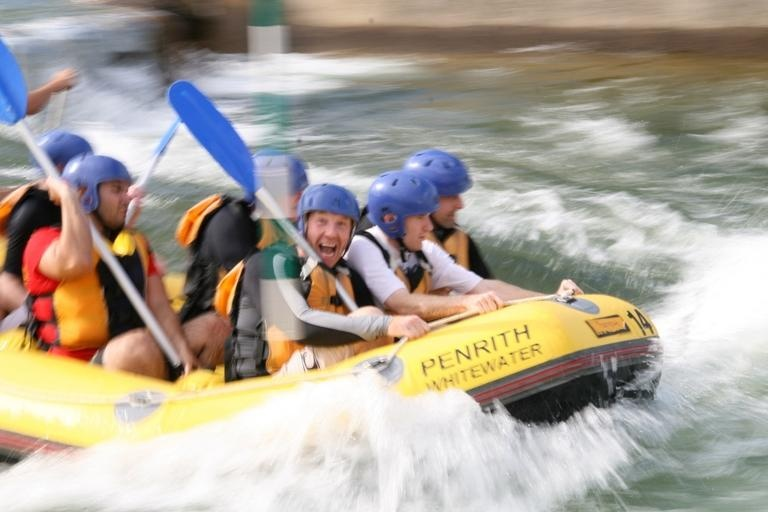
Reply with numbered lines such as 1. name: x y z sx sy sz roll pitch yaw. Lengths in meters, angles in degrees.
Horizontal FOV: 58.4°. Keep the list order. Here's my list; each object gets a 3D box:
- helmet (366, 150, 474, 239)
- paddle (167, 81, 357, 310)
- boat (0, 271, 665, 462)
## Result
1. helmet: 0.211 -0.463 4.694 0.756 0.469 0.487 -6 20 8
2. paddle: -0.861 -0.383 4.918 0.331 2.473 0.176 10 67 20
3. boat: -0.363 0.657 3.786 2.875 0.392 1.292 -3 -4 2
